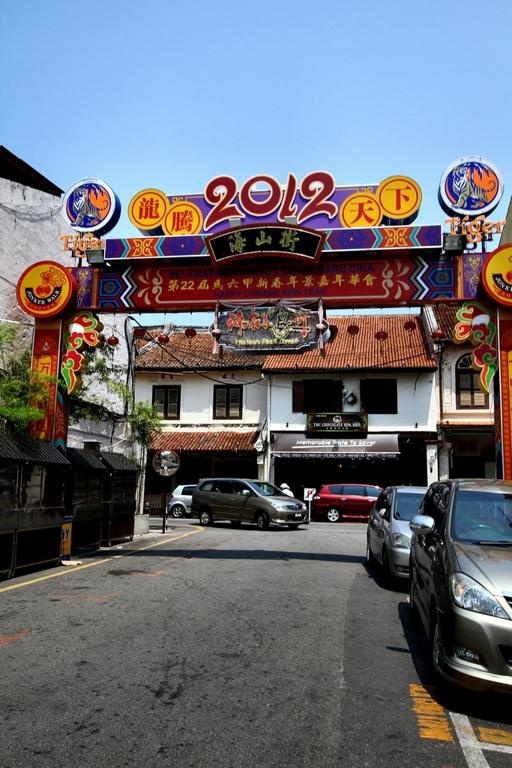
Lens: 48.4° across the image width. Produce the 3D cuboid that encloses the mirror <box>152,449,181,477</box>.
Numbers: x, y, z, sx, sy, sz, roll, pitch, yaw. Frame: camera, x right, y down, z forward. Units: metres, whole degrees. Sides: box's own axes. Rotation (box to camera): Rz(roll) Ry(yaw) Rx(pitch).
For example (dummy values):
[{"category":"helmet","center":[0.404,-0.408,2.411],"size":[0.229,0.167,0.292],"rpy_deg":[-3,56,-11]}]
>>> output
[{"category":"mirror","center":[-2.806,2.484,17.686],"size":[0.690,0.708,0.998],"rpy_deg":[2,-11,-2]}]

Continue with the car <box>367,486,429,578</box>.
[{"category":"car","center":[2.691,2.507,9.920],"size":[1.191,1.253,2.538],"rpy_deg":[-1,-16,4]}]

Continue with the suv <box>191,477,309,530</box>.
[{"category":"suv","center":[-0.341,4.399,20.950],"size":[4.373,1.754,1.263],"rpy_deg":[-8,-14,40]}]

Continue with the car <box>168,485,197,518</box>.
[{"category":"car","center":[-3.467,5.582,26.769],"size":[2.050,1.250,1.240],"rpy_deg":[-3,-4,0]}]
